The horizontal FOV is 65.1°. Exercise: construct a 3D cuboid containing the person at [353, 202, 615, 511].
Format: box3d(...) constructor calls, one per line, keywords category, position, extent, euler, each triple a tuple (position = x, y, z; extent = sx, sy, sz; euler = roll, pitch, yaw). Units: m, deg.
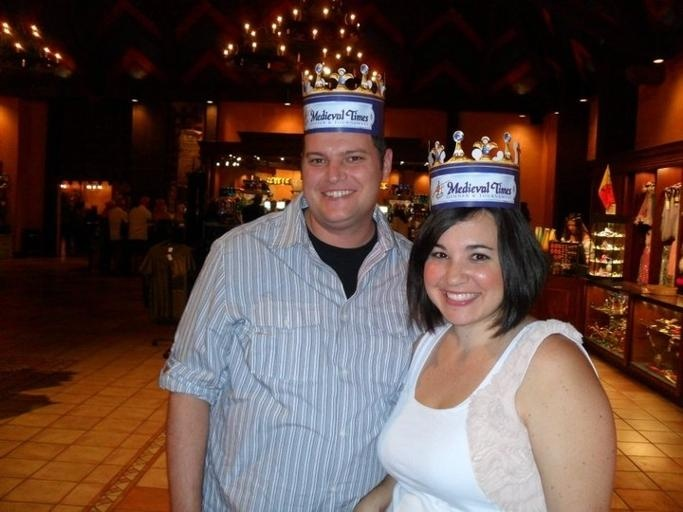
box3d(category="person", position=(0.549, 0.423, 1.965), extent=(0.842, 1.183, 0.417), euler=(5, 9, 29))
